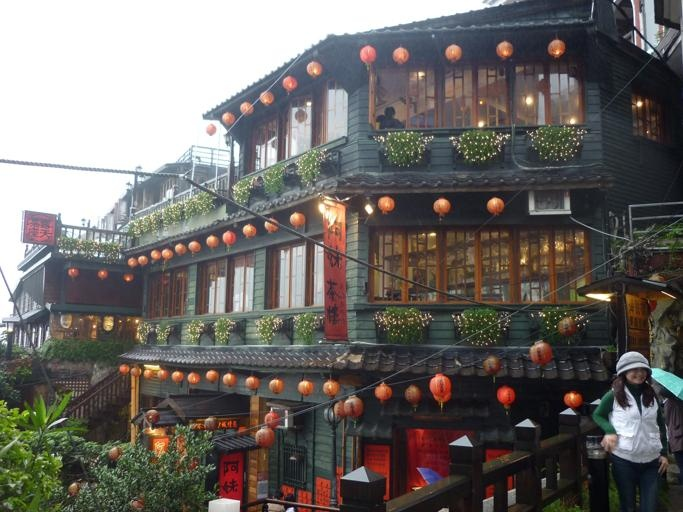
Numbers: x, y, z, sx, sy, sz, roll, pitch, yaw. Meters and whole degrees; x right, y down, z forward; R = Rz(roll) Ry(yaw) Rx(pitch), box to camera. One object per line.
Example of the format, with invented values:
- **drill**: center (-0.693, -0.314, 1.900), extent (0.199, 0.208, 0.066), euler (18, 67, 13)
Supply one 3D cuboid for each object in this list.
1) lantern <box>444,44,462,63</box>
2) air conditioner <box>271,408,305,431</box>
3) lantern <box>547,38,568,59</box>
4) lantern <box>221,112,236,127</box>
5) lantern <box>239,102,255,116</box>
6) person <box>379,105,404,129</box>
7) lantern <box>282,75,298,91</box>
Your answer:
- **lantern**: center (2.891, -5.302, 19.592), extent (0.446, 0.561, 0.509), euler (-1, -9, 9)
- **air conditioner**: center (-1.459, 4.457, 20.733), extent (0.479, 0.665, 0.946), euler (4, -9, -25)
- **lantern**: center (5.633, -5.425, 19.744), extent (0.411, 0.532, 0.496), euler (1, -28, 6)
- **lantern**: center (-3.610, -4.407, 24.026), extent (0.411, 0.533, 0.441), euler (-4, -22, -8)
- **lantern**: center (-2.964, -4.609, 23.640), extent (0.358, 0.479, 0.385), euler (-15, -29, 12)
- **person**: center (1.365, -3.801, 20.782), extent (0.532, 0.771, 0.209), euler (-2, -10, -5)
- **lantern**: center (-1.453, -4.850, 21.342), extent (0.427, 0.526, 0.461), euler (-10, 12, -17)
